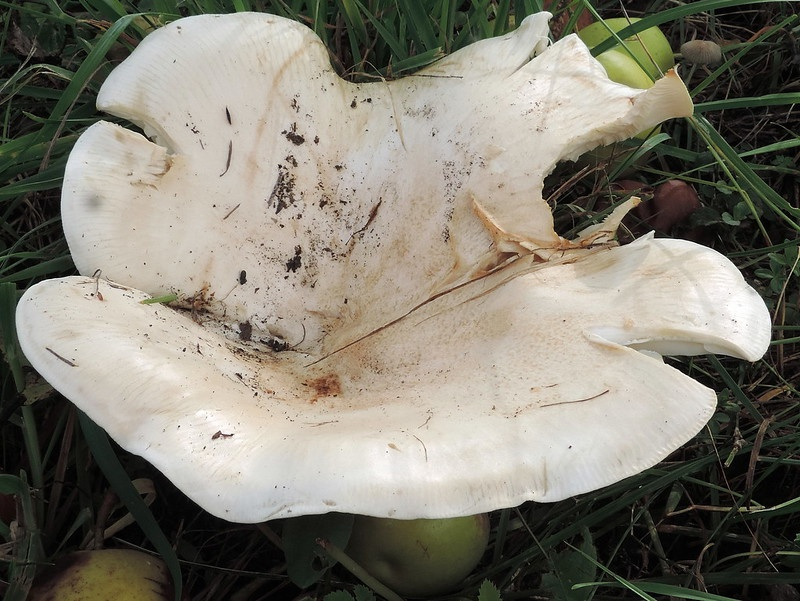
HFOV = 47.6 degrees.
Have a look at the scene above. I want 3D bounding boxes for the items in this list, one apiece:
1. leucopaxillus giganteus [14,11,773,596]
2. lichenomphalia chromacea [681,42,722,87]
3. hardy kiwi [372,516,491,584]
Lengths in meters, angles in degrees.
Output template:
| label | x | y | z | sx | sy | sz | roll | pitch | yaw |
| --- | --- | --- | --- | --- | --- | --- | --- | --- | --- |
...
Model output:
| label | x | y | z | sx | sy | sz | roll | pitch | yaw |
| --- | --- | --- | --- | --- | --- | --- | --- | --- | --- |
| leucopaxillus giganteus | -0.092 | -0.146 | 3.280 | 2.406 | 0.647 | 1.926 | -21 | 83 | -5 |
| lichenomphalia chromacea | 1.287 | -1.015 | 3.879 | 0.213 | 0.076 | 0.144 | -16 | 72 | -3 |
| hardy kiwi | 0.122 | 0.936 | 3.304 | 0.435 | 0.240 | 0.295 | -2 | 82 | -2 |
